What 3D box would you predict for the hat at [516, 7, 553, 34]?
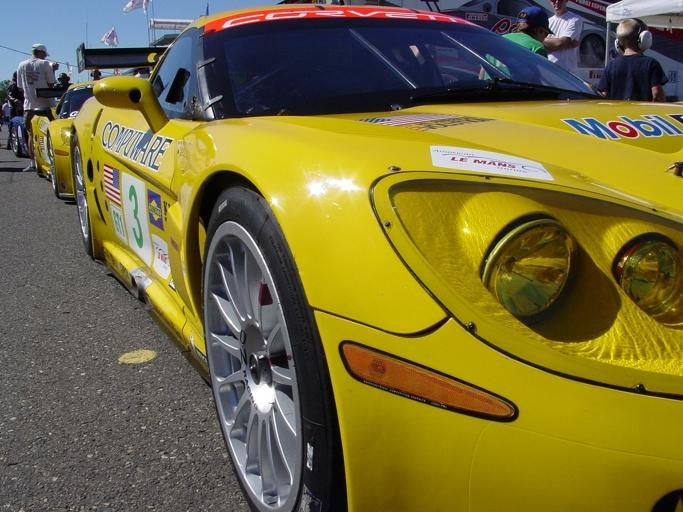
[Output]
[{"bbox_3d":[1.790,-2.123,4.642,0.215,0.175,0.300,28,48,36],"label":"hat"}]
